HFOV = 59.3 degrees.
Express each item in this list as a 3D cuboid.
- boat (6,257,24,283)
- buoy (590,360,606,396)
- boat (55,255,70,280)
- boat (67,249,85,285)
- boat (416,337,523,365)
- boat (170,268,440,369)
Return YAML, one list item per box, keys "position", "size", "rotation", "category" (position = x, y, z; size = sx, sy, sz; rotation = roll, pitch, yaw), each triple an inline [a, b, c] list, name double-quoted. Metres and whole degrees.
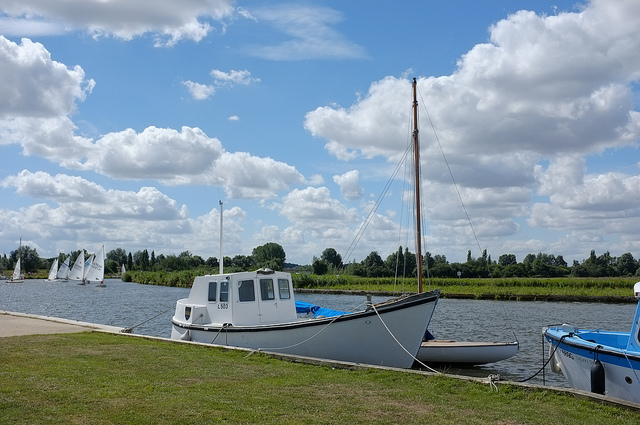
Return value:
- position: [-68.286, 13.002, 126.863]
  size: [2.073, 5.561, 4.746]
  rotation: [6, -13, -28]
  category: "boat"
- position: [10.190, 6.130, 20.768]
  size: [0.468, 1.090, 0.194]
  rotation: [-4, -12, 22]
  category: "buoy"
- position: [-59.579, 13.195, 130.838]
  size: [1.267, 4.846, 6.142]
  rotation: [9, -15, -39]
  category: "boat"
- position: [-51.732, 11.944, 120.542]
  size: [2.088, 7.050, 7.964]
  rotation: [6, -13, -29]
  category: "boat"
- position: [7.204, 6.807, 27.420]
  size: [5.351, 1.723, 1.827]
  rotation: [2, -4, 4]
  category: "boat"
- position: [-1.113, 5.032, 25.227]
  size: [10.627, 3.786, 4.718]
  rotation: [-8, -11, 37]
  category: "boat"
